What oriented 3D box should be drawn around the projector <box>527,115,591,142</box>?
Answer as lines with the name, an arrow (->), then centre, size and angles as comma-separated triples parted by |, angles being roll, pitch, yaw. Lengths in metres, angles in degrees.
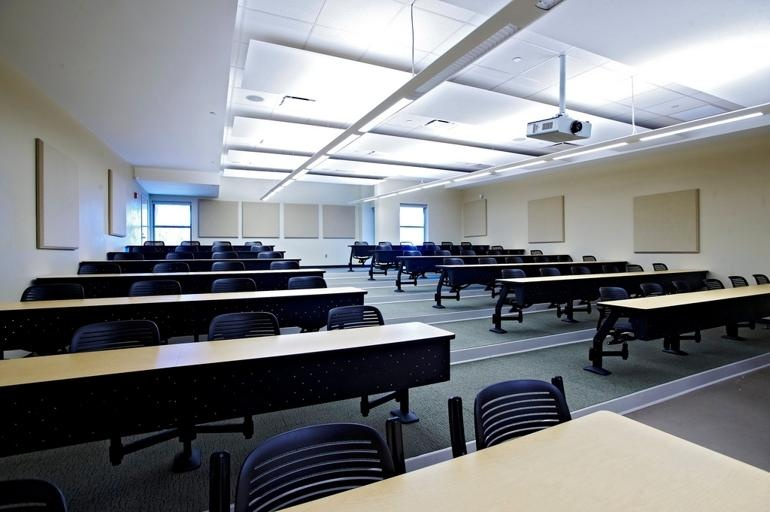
projector -> 2.562, -1.906, 6.760 | 0.635, 0.292, 0.691 | -2, 2, -42
